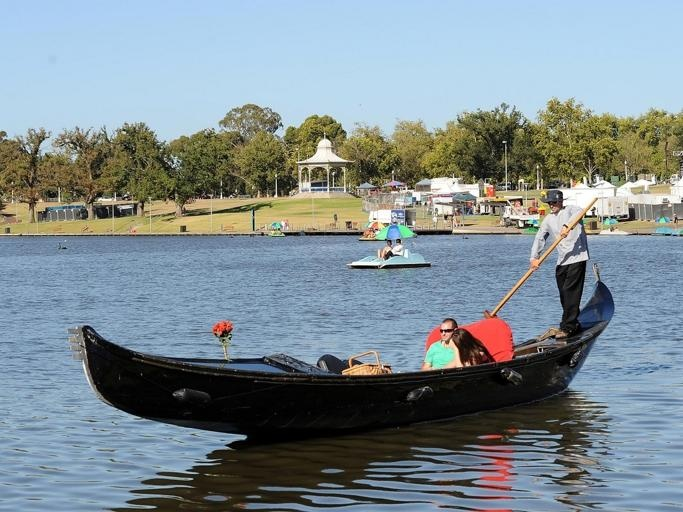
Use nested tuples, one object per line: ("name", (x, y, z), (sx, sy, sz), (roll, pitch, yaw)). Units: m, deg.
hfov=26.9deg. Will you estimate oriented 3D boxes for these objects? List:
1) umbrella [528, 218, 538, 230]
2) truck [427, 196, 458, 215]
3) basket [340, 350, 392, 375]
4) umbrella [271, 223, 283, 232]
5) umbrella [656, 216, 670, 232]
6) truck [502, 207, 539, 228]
("umbrella", (14.819, -2.546, 109.873), (1.035, 0.782, 0.913), (1, 3, 5))
("truck", (9.086, -4.795, 127.726), (2.562, 1.339, 2.487), (1, 2, 11))
("basket", (0.658, 2.619, 34.047), (0.857, 0.526, 0.826), (-2, 2, -40))
("umbrella", (-5.510, -2.524, 121.721), (0.991, 0.488, 0.878), (0, -1, 6))
("umbrella", (24.513, -2.466, 108.386), (1.769, 0.621, 2.232), (2, 18, 15))
("truck", (14.703, -3.149, 115.918), (1.917, 1.217, 2.867), (0, 4, -25))
